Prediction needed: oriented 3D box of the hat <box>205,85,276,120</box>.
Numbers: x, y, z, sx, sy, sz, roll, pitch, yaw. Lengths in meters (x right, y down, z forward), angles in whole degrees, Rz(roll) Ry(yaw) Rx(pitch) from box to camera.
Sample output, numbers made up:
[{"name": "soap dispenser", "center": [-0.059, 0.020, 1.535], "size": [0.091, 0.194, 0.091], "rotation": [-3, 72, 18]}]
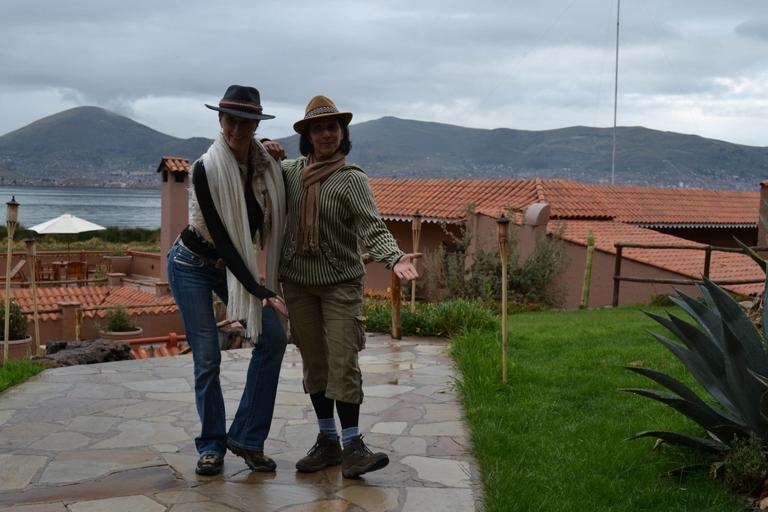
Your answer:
[{"name": "hat", "center": [-1.014, -1.114, 4.439], "size": [0.369, 0.242, 0.265], "rotation": [0, 7, -9]}]

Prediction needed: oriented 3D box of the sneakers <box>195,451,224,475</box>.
[{"name": "sneakers", "center": [-1.322, 1.537, 4.627], "size": [0.213, 0.164, 0.149], "rotation": [-1, 7, -14]}]

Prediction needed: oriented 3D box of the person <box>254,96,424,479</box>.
[{"name": "person", "center": [-0.372, 0.223, 4.654], "size": [1.040, 2.830, 0.479], "rotation": [4, 8, 23]}]

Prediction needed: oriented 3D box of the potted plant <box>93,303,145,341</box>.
[{"name": "potted plant", "center": [-5.837, 1.452, 13.628], "size": [1.050, 0.695, 0.738], "rotation": [7, 9, 43]}]
